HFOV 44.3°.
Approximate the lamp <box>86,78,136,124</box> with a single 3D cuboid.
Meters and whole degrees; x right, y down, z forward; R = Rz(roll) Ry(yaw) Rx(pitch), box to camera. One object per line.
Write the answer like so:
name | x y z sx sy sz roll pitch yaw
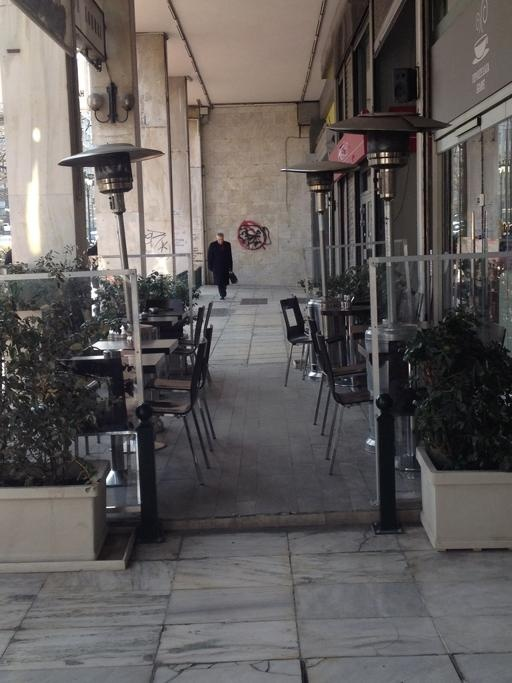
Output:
lamp | -2.218 -3.719 9.686 0.726 0.640 0.261 -1 5 -2
